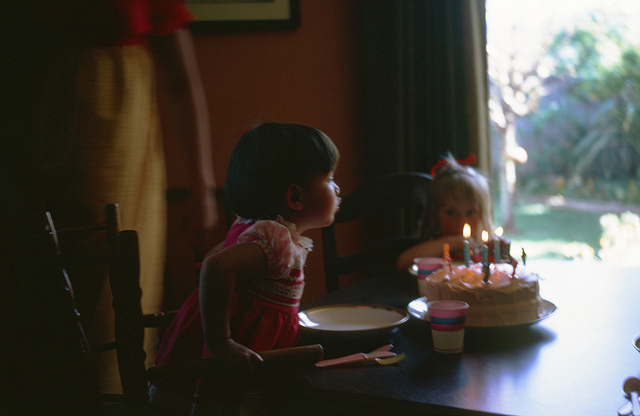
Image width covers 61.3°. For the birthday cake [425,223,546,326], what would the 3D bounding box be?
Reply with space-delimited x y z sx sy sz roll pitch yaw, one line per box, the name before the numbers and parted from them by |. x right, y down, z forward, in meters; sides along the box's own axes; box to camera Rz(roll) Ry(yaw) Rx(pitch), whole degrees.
birthday cake | 0.515 0.186 1.670 0.353 0.248 0.352 -5 9 -2

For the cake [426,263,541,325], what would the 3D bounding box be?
cake | 0.497 0.262 1.700 0.376 0.171 0.374 -2 -1 -16

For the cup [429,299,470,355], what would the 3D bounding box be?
cup | 0.369 0.327 1.497 0.140 0.146 0.140 -1 -6 0
